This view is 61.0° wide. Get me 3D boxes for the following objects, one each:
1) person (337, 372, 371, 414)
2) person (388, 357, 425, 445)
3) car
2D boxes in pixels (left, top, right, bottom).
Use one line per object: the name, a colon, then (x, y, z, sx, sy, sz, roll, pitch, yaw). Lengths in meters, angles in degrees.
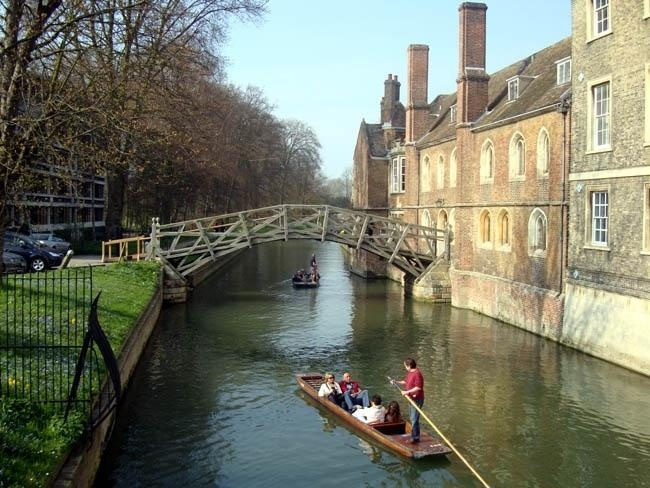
person: (0.739, 3.958, 14.689, 0.646, 1.200, 0.803, -5, -22, -17)
person: (1.973, 3.499, 12.565, 0.521, 1.860, 0.913, 1, 1, 9)
car: (-13.958, 0.343, 26.241, 2.250, 1.732, 4.311, 0, 1, -31)
